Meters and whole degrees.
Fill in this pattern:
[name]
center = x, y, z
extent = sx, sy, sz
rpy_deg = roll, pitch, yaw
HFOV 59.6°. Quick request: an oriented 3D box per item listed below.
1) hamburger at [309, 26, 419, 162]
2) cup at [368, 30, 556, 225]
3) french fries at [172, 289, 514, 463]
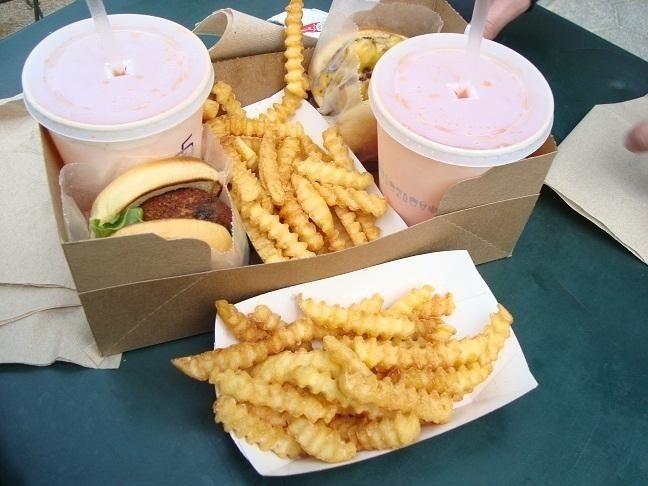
[hamburger]
center = 0.124, -0.450, 1.665
extent = 0.190, 0.342, 0.302
rpy_deg = -15, 27, -29
[cup]
center = 0.276, -0.239, 1.495
extent = 0.419, 0.464, 0.410
rpy_deg = 2, 53, -3
[french fries]
center = 0.050, 0.255, 1.179
extent = 0.731, 0.129, 0.368
rpy_deg = -8, 64, -7
